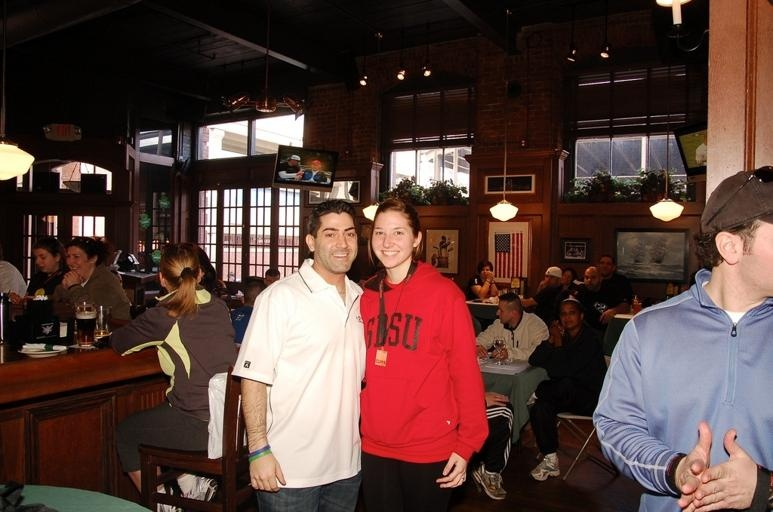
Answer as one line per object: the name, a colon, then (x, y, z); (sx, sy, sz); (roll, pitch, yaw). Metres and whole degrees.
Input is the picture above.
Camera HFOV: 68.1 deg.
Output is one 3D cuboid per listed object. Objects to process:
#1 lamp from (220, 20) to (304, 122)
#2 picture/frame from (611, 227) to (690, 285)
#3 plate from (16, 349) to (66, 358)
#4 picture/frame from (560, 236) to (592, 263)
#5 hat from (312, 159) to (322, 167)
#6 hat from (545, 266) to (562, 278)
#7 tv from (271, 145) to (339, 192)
lamp: (-2.063, -2.979, 9.746); (1.198, 1.590, 3.331); (-1, 3, -9)
picture/frame: (4.008, -0.002, 8.534); (0.863, 0.678, 0.037); (2, 3, 21)
plate: (-2.447, 0.694, 4.039); (0.282, 0.034, 0.214); (-1, 3, -19)
picture/frame: (3.009, -0.098, 8.983); (0.411, 0.386, 0.032); (3, 1, 23)
hat: (-1.184, -1.559, 9.612); (0.102, 0.106, 0.139); (6, -4, 7)
hat: (2.520, 0.253, 8.538); (0.184, 0.117, 0.176); (15, -10, -33)
tv: (-1.358, -1.506, 9.790); (1.026, 0.729, 0.136); (6, 5, -16)
